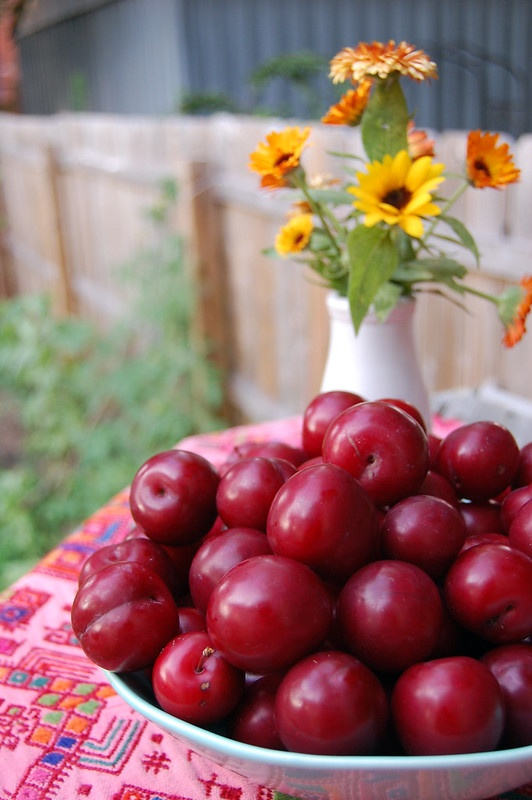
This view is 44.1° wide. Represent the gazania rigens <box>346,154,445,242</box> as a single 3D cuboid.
[{"bbox_3d":[0.104,-0.167,0.531,0.073,0.068,0.059,3,14,12],"label":"gazania rigens"}]

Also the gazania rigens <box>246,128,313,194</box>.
[{"bbox_3d":[0.016,-0.238,0.621,0.056,0.023,0.054,-7,-8,-33],"label":"gazania rigens"}]

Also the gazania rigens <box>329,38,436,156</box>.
[{"bbox_3d":[0.114,-0.268,0.608,0.091,0.107,0.089,-6,25,-2],"label":"gazania rigens"}]

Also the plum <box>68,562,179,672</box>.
[{"bbox_3d":[-0.080,0.125,0.373,0.057,0.052,0.049,-5,14,-19],"label":"plum"}]

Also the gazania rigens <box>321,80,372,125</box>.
[{"bbox_3d":[0.077,-0.278,0.629,0.020,0.039,0.039,41,51,19],"label":"gazania rigens"}]

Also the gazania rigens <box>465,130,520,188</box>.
[{"bbox_3d":[0.215,-0.231,0.630,0.045,0.061,0.129,3,14,15],"label":"gazania rigens"}]

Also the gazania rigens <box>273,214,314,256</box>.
[{"bbox_3d":[0.025,-0.160,0.644,0.040,0.040,0.017,-4,-2,27],"label":"gazania rigens"}]
